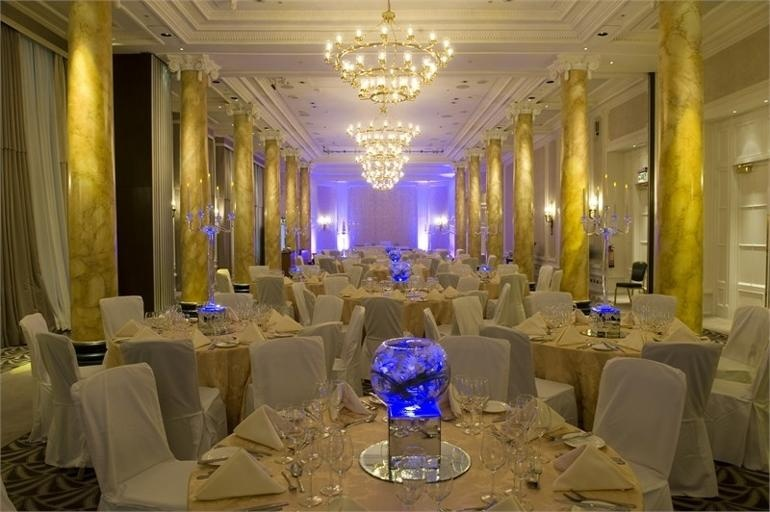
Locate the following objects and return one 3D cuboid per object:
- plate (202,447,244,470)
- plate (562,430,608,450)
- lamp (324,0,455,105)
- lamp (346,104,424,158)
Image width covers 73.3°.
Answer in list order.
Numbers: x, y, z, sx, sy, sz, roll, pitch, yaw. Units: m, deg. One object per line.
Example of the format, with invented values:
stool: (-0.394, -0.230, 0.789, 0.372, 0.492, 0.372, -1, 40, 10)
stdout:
plate: (-1.090, 1.345, 3.471, 0.234, 0.087, 0.199, -2, 0, 20)
plate: (1.366, 1.256, 3.538, 0.267, 0.063, 0.218, -2, 0, -27)
lamp: (0.102, -3.868, 9.379, 1.730, 2.058, 1.841, 1, 10, 4)
lamp: (-0.104, -3.855, 14.350, 1.802, 1.395, 1.918, 1, 3, 4)
